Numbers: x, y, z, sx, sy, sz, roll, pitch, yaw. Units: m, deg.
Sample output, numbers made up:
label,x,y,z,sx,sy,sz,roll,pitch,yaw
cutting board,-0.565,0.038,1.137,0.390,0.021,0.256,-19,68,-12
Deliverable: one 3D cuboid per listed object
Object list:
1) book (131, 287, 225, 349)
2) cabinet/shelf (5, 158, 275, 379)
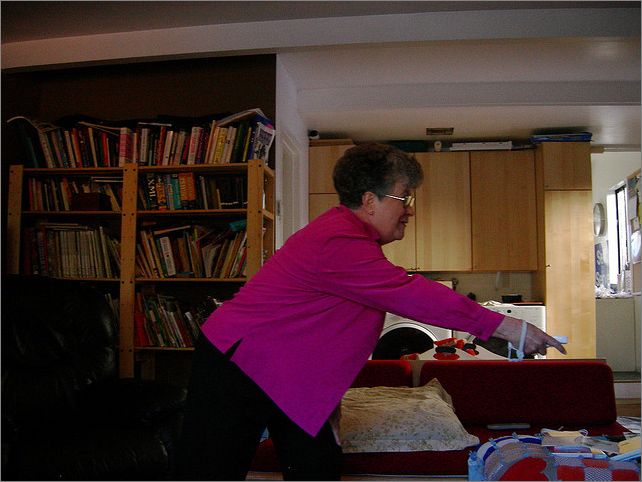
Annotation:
label,x,y,z,sx,sy,sz,roll,pitch,yaw
book,-0.997,0.551,3.915,0.648,0.193,0.473,1,5,8
cabinet/shelf,-1.181,0.132,3.486,1.825,1.516,0.555,0,1,3
